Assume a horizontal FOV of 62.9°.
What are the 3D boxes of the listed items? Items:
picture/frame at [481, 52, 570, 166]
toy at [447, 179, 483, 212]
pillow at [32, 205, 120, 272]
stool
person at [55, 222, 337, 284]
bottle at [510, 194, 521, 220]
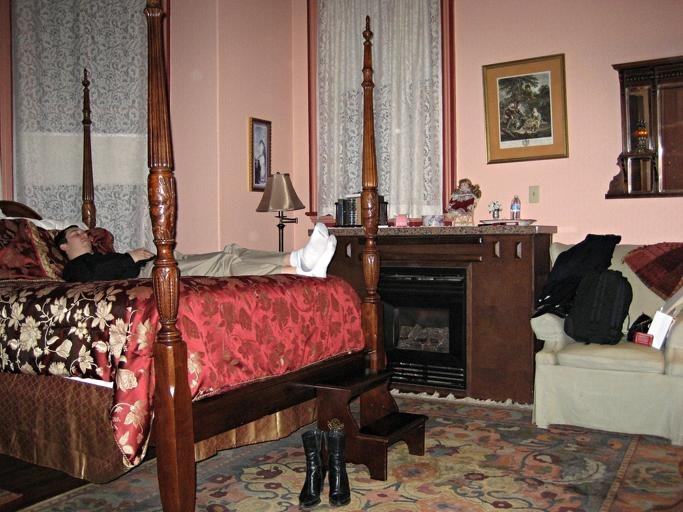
[{"bbox_3d":[1.583,-1.254,4.823,0.674,0.957,0.040,1,39,23],"label":"picture/frame"},{"bbox_3d":[1.027,-0.511,4.698,0.269,0.296,0.263,0,3,3],"label":"toy"},{"bbox_3d":[-2.098,-0.158,4.329,0.558,0.387,0.457,4,6,19],"label":"pillow"},{"bbox_3d":[0.149,0.879,3.265,0.513,0.514,0.632,-2,-2,25],"label":"stool"},{"bbox_3d":[-1.034,0.030,3.729,1.921,0.531,0.726,2,2,3],"label":"person"},{"bbox_3d":[1.429,-0.399,4.566,0.069,0.200,0.220,1,4,21],"label":"bottle"}]
